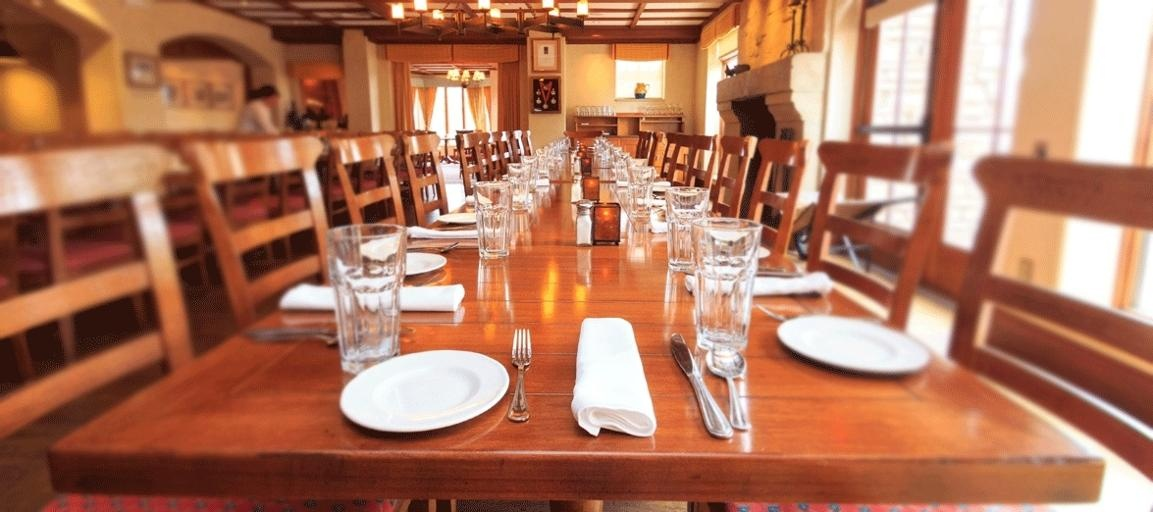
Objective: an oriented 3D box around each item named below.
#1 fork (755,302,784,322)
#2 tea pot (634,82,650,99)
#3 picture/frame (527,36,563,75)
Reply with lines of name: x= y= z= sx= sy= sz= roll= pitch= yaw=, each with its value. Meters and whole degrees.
fork: x=1.092 y=0.317 z=3.683 sx=0.221 sy=0.045 sz=0.054 roll=20 pitch=47 yaw=27
tea pot: x=1.288 y=-3.249 z=12.860 sx=0.396 sy=0.280 sz=0.261 roll=4 pitch=23 yaw=9
picture/frame: x=-0.574 y=-3.874 z=12.500 sx=0.972 sy=0.712 sz=0.086 roll=1 pitch=7 yaw=-7
